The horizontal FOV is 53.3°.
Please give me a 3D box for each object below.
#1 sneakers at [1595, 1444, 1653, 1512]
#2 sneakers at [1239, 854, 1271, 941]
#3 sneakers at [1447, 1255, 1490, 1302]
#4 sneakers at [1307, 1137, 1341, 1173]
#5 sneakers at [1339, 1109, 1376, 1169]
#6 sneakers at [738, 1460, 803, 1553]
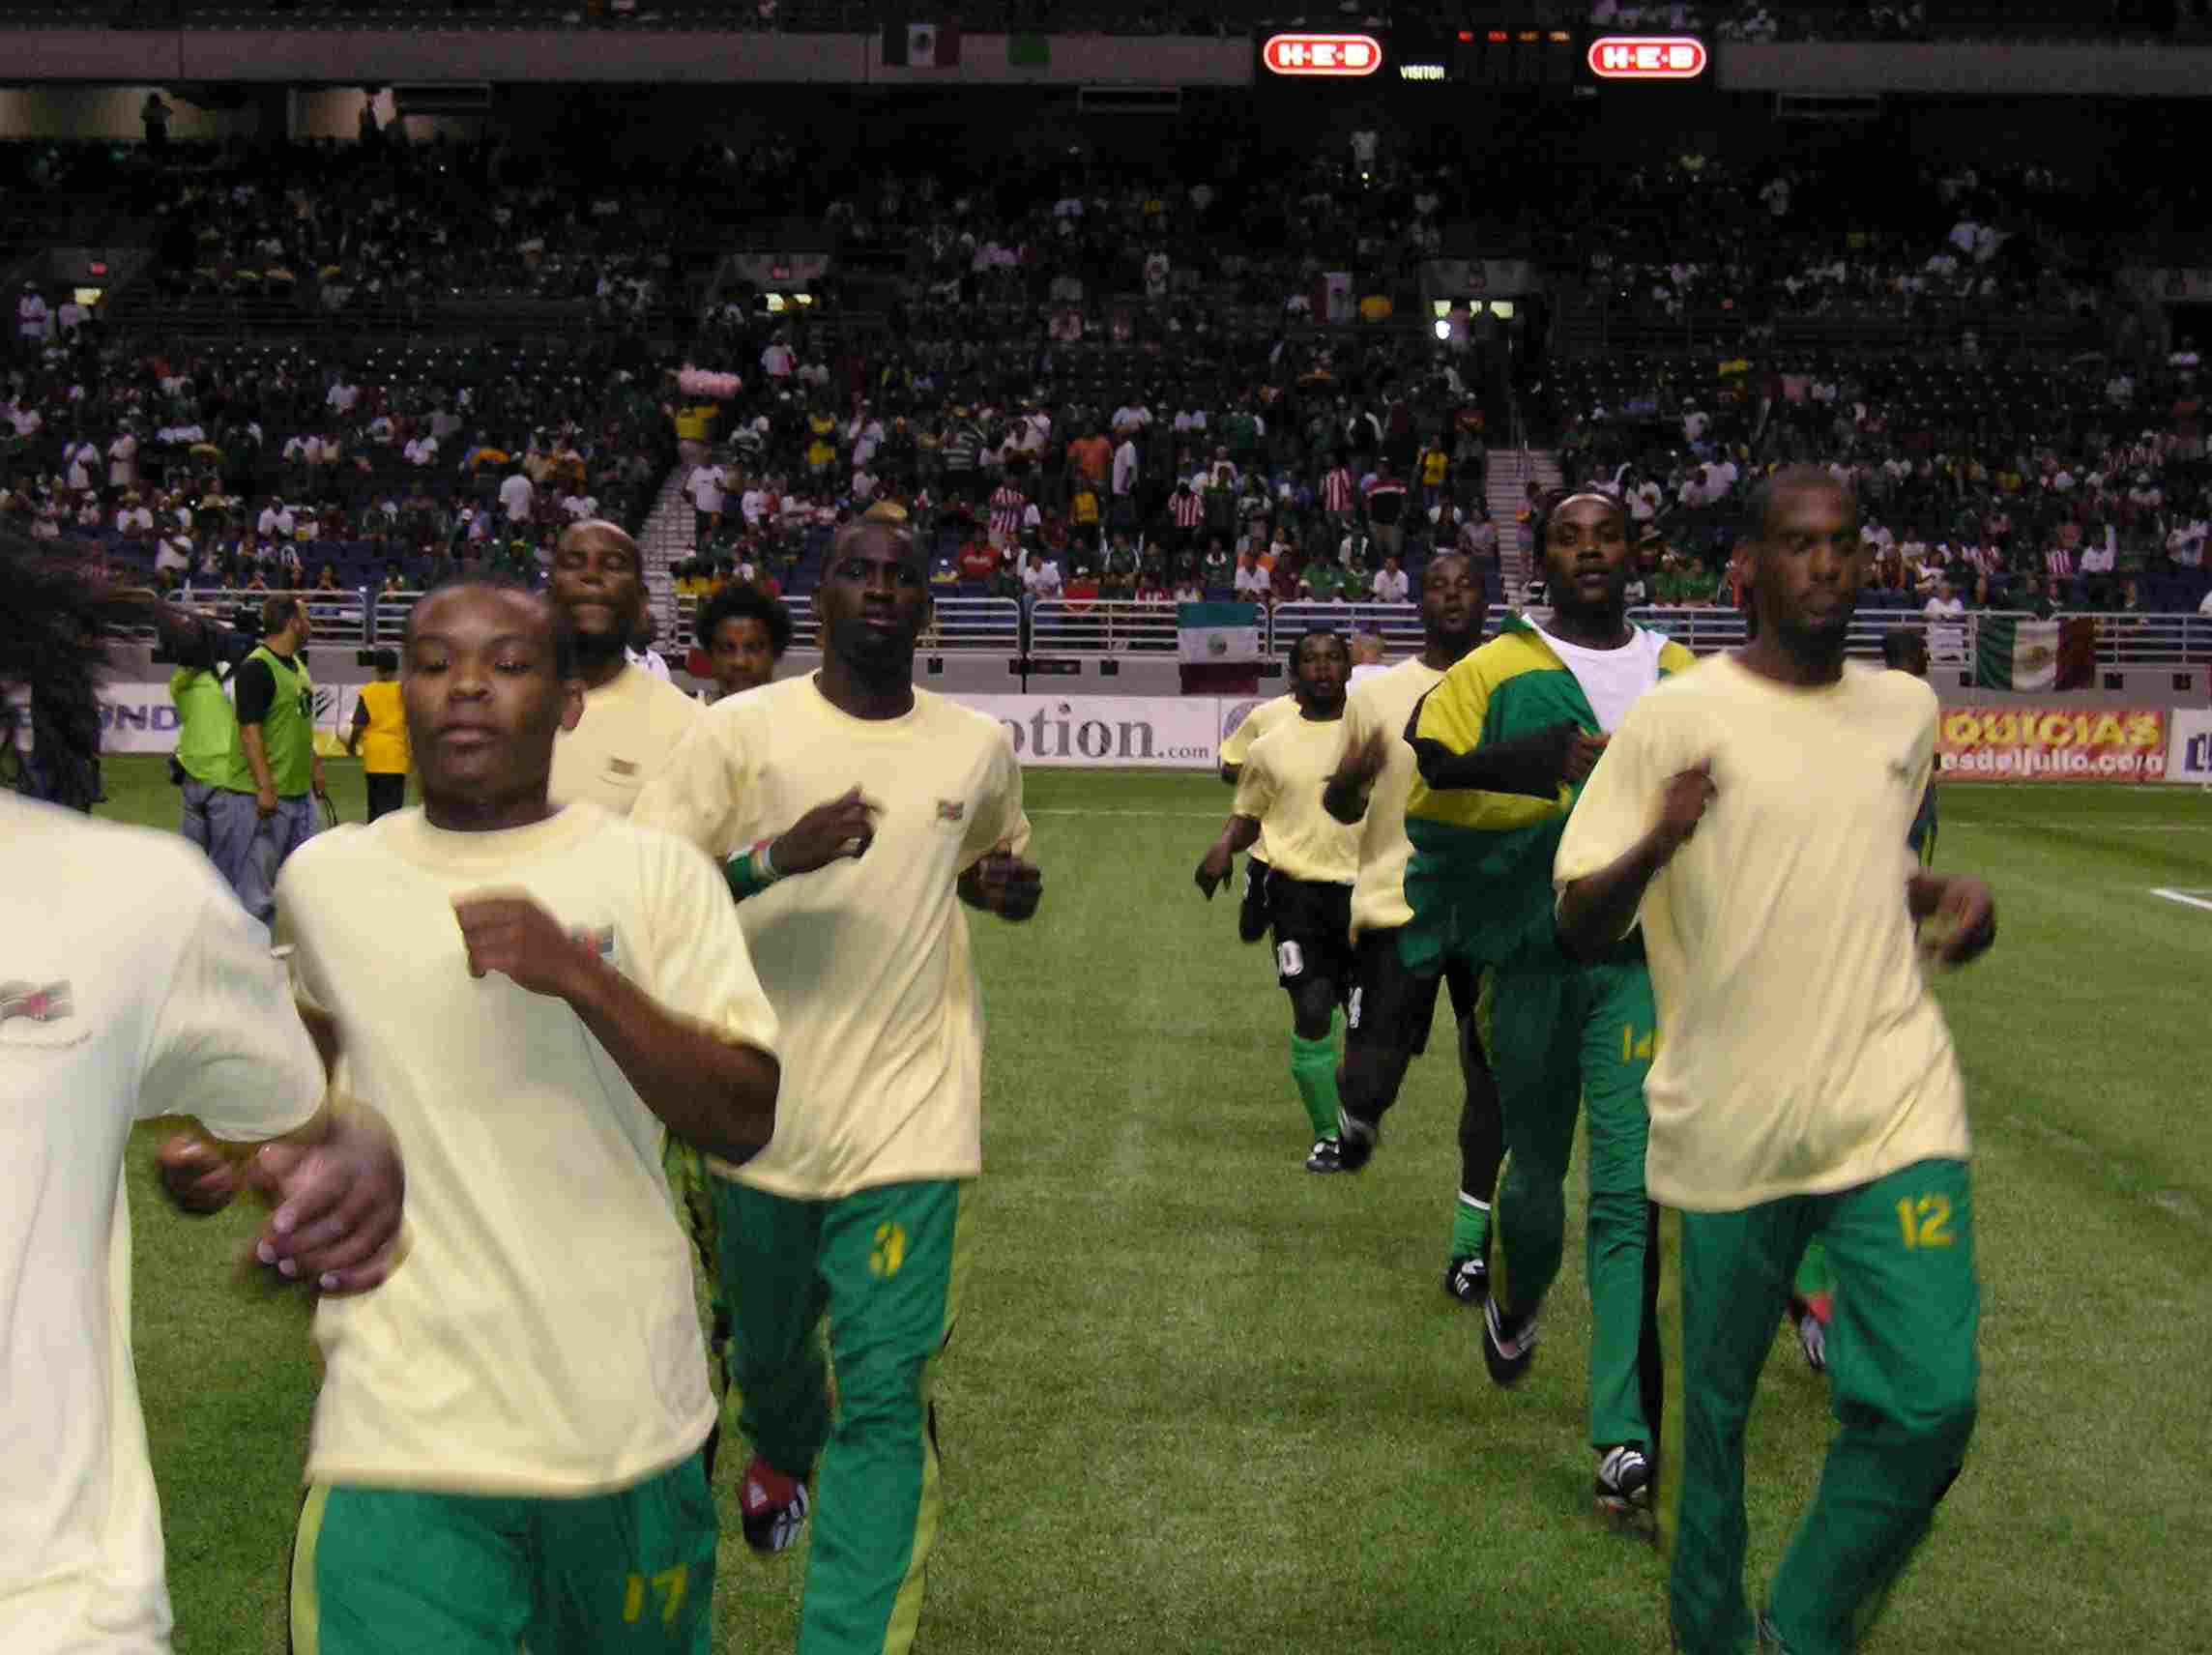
[{"bbox_3d":[1.282,1.608,5.448,0.076,0.115,0.224,0,-21,1],"label":"sneakers"},{"bbox_3d":[0.569,0.302,9.136,0.088,0.309,0.211,14,15,13],"label":"sneakers"},{"bbox_3d":[1.166,1.446,7.042,0.079,0.103,0.146,-2,-20,-1],"label":"sneakers"},{"bbox_3d":[0.845,1.281,8.583,0.129,0.144,0.083,4,-11,-4],"label":"sneakers"},{"bbox_3d":[0.920,1.194,8.307,0.140,0.171,0.250,2,-41,-1],"label":"sneakers"},{"bbox_3d":[-0.784,1.655,5.375,0.156,0.223,0.215,-1,-21,-4],"label":"sneakers"}]
